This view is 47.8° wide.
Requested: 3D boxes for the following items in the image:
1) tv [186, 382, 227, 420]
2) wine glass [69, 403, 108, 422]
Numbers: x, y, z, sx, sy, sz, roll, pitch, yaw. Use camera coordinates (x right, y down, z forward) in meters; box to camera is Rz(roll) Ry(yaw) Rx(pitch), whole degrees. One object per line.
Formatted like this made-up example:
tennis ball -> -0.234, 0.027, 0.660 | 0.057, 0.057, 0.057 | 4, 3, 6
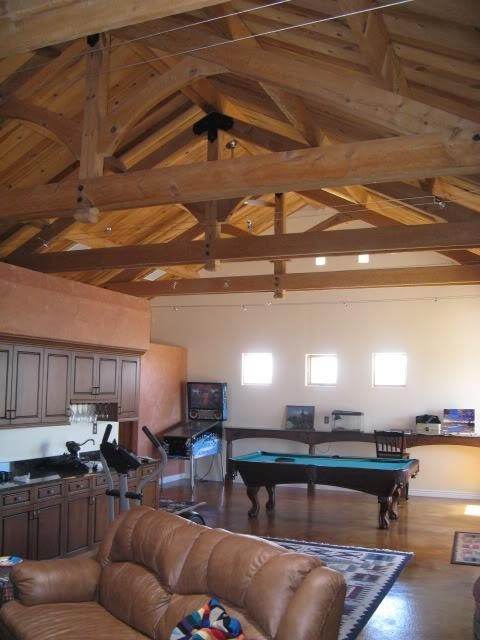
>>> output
tv -> -0.636, 1.567, 10.407 | 0.779, 0.670, 0.173 | -1, -6, 17
wine glass -> -1.803, 1.123, 6.495 | 0.118, 0.224, 0.674 | -2, -9, 18
